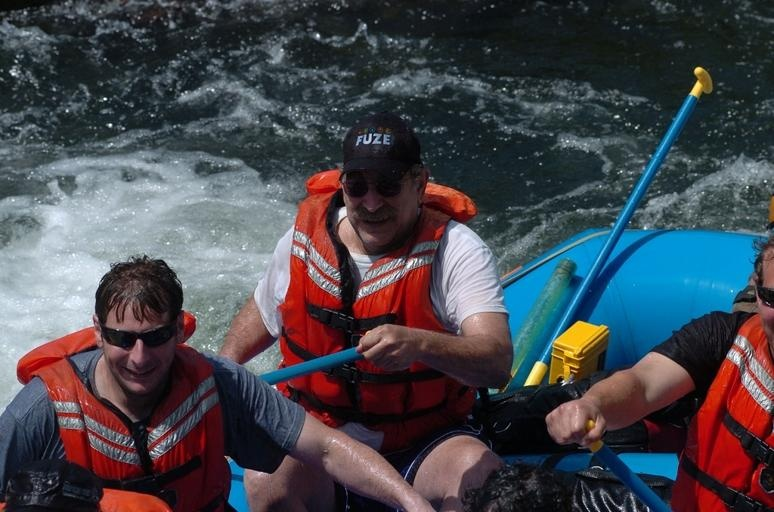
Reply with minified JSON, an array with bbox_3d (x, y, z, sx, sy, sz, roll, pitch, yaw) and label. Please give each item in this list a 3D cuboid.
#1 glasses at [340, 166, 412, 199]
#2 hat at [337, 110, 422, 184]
[{"bbox_3d":[-0.080,-0.420,4.574,0.360,0.179,0.105,4,21,0],"label":"glasses"},{"bbox_3d":[-0.051,-0.634,4.585,0.333,0.262,0.470,-1,1,17],"label":"hat"}]
